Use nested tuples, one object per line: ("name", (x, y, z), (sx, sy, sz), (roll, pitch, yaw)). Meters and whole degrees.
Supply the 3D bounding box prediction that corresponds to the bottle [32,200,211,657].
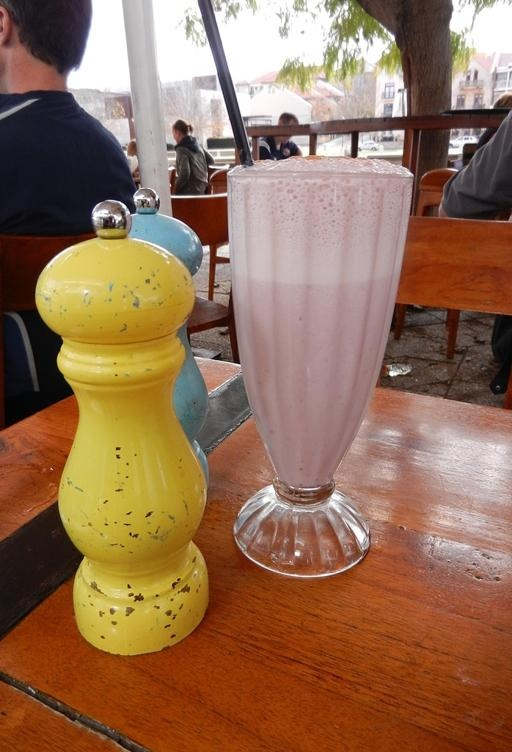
("bottle", (-0.074, 0.039, 0.317), (0.092, 0.260, 0.069), (-7, 24, -13))
